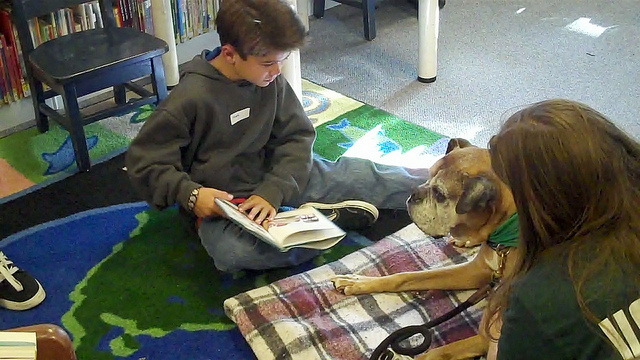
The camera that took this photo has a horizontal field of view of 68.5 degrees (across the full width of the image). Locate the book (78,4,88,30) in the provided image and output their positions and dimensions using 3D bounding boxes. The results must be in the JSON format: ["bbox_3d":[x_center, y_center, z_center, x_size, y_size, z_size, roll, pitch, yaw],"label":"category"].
[{"bbox_3d":[-1.373,-0.957,2.724,0.033,0.129,0.069,-13,48,-20],"label":"book"}]

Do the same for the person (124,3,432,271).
[{"bbox_3d":[-0.281,-0.185,2.233,1.384,0.972,1.204,15,40,15],"label":"person"}]

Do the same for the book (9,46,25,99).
[{"bbox_3d":[-1.686,-0.607,2.634,0.039,0.254,0.037,-12,20,-12],"label":"book"}]

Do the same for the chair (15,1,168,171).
[{"bbox_3d":[-1.243,-0.503,2.491,0.593,0.870,0.575,-29,58,-30],"label":"chair"}]

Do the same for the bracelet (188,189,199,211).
[{"bbox_3d":[-0.517,0.078,1.902,0.021,0.063,0.059,24,7,5],"label":"bracelet"}]

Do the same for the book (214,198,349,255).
[{"bbox_3d":[-0.120,0.138,1.858,0.386,0.105,0.282,-11,30,-29],"label":"book"}]
